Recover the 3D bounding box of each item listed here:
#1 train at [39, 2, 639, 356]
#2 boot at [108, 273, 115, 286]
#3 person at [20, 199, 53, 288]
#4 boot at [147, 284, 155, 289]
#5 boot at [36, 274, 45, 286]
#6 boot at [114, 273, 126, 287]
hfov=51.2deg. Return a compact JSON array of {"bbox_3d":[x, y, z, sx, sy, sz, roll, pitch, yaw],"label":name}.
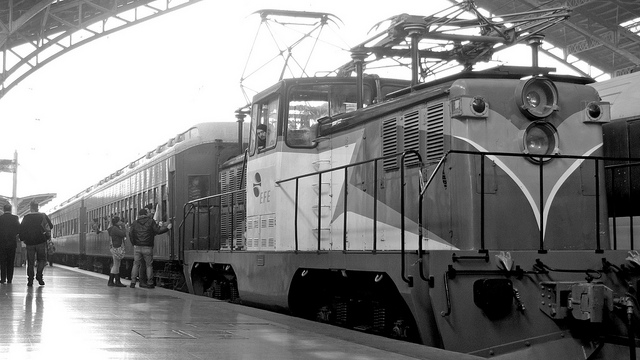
[{"bbox_3d":[-2.318,0.380,22.401,6.012,6.544,26.031,2,-4,-21],"label":"train"},{"bbox_3d":[-5.787,2.721,18.369,0.172,0.338,0.349,4,-12,-20],"label":"boot"},{"bbox_3d":[-7.811,1.718,18.329,0.793,2.248,0.876,-2,-2,3],"label":"person"},{"bbox_3d":[-4.596,2.851,17.968,0.187,0.131,0.455,2,-12,-14],"label":"boot"},{"bbox_3d":[-7.492,2.644,17.744,0.219,0.315,0.672,4,-12,-23],"label":"boot"},{"bbox_3d":[-5.608,2.762,18.562,0.313,0.360,0.430,3,-12,-16],"label":"boot"}]
